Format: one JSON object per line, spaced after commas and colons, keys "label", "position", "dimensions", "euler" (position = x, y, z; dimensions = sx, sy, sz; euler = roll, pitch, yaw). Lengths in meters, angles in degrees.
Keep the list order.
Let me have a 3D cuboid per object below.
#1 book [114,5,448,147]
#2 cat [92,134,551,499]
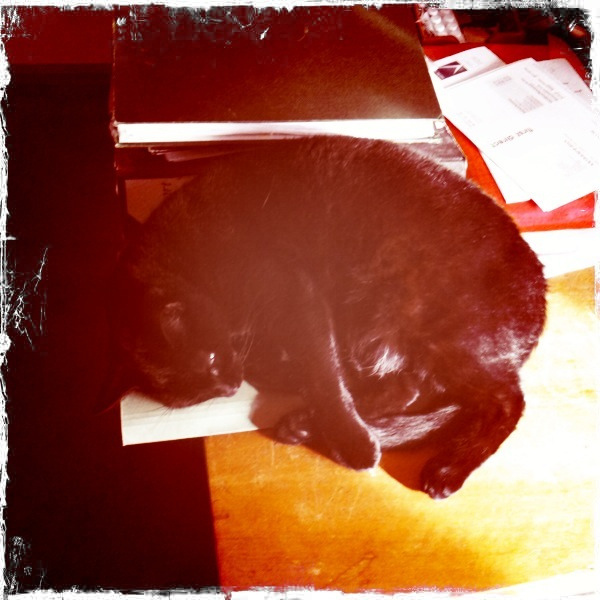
{"label": "book", "position": [-0.022, -0.228, 0.720], "dimensions": [0.222, 0.030, 0.204], "euler": [-3, 44, -5]}
{"label": "cat", "position": [0.045, -0.002, 0.675], "dimensions": [0.381, 0.120, 0.335], "euler": [8, 62, 29]}
